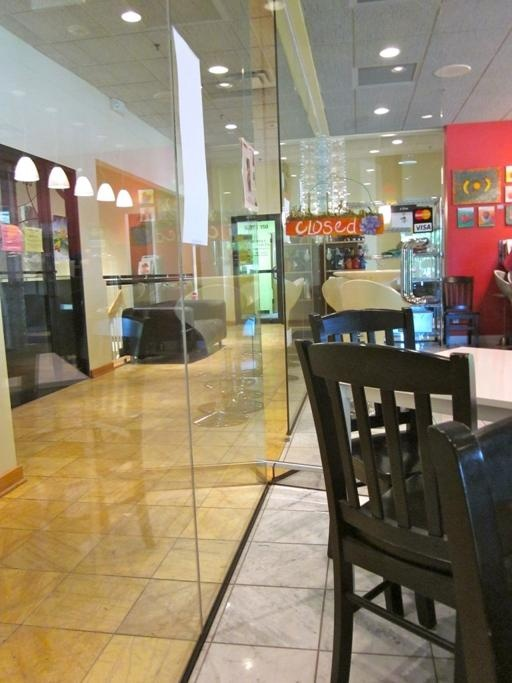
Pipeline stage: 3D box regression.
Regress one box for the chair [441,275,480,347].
[{"bbox_3d":[2.615,-0.386,6.841,0.413,0.928,0.774,-3,7,19],"label":"chair"}]
